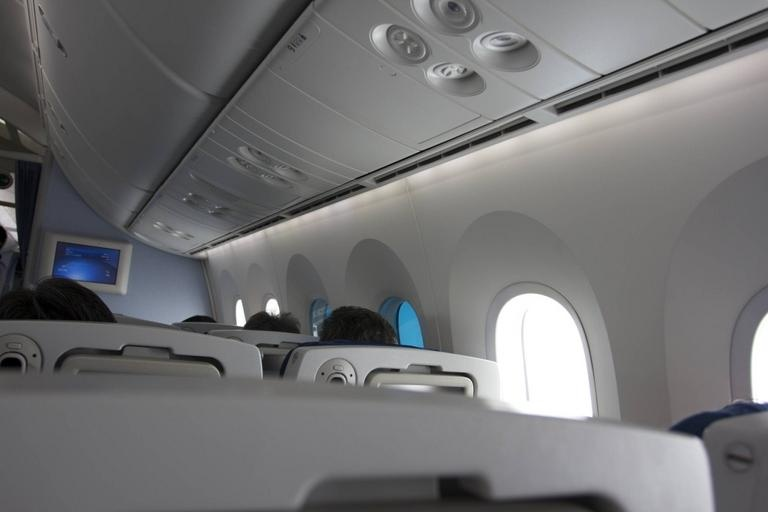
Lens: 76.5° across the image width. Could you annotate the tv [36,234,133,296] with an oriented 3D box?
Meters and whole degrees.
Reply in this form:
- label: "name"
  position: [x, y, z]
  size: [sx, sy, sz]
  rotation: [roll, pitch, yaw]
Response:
- label: "tv"
  position: [-3.971, 0.068, 6.475]
  size: [0.904, 0.672, 0.124]
  rotation: [11, -20, -34]
